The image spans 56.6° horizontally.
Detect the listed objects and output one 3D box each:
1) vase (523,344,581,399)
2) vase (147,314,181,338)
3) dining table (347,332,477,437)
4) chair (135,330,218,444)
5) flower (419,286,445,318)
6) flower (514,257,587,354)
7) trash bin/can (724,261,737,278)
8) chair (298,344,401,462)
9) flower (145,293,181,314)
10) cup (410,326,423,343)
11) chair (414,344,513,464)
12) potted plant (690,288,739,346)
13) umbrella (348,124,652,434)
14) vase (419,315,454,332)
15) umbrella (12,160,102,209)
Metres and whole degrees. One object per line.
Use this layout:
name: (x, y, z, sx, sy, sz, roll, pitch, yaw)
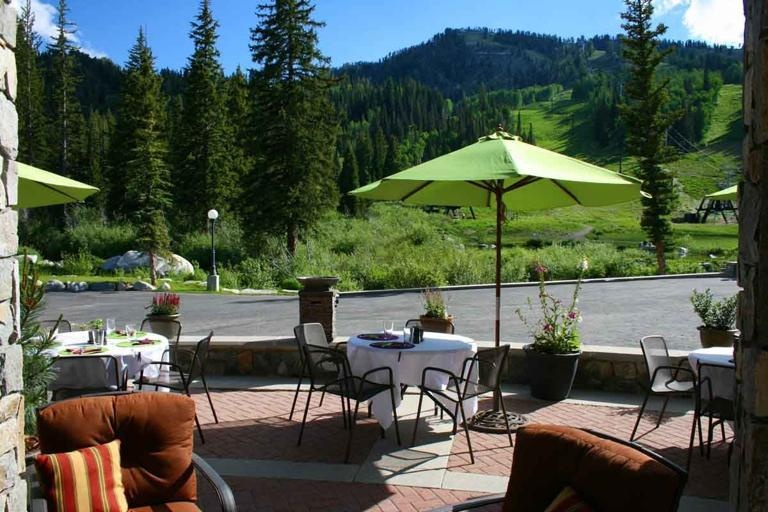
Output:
vase: (2.335, 1.640, 10.151, 0.657, 0.593, 0.710, 1, 0, 19)
vase: (-3.623, 1.180, 11.855, 0.572, 0.476, 0.615, 1, -4, -13)
dining table: (0.273, 1.438, 8.773, 1.170, 0.837, 1.265, 2, -5, -8)
chair: (-2.679, 1.638, 9.150, 0.889, 1.331, 0.796, 3, 5, -3)
flower: (0.958, 0.975, 14.657, 0.570, 0.873, 0.593, 1, -13, -2)
flower: (2.334, 0.978, 10.156, 0.604, 0.889, 0.510, -8, 12, -18)
trash bin/can: (13.827, 0.629, 28.629, 0.412, 0.632, 0.590, -3, 4, -17)
chair: (-0.482, 1.794, 9.211, 0.836, 1.201, 0.813, 3, -1, 43)
flower: (-4.325, 0.965, 13.983, 0.509, 0.470, 0.787, 3, 10, -3)
cup: (0.417, 1.017, 9.109, 0.120, 0.217, 0.198, 1, 2, 6)
chair: (0.891, 1.725, 9.191, 1.238, 1.898, 1.091, 5, 7, 37)
potted plant: (5.104, 0.999, 11.061, 0.547, 0.874, 1.035, 1, 5, 21)
umbrella: (1.451, 0.019, 9.607, 3.117, 3.221, 3.123, 9, 17, 37)
vase: (0.845, 1.131, 11.689, 0.360, 0.275, 0.339, 4, -3, -39)
umbrella: (-4.352, -0.907, 9.460, 0.865, 0.537, 1.430, -3, 5, -28)
